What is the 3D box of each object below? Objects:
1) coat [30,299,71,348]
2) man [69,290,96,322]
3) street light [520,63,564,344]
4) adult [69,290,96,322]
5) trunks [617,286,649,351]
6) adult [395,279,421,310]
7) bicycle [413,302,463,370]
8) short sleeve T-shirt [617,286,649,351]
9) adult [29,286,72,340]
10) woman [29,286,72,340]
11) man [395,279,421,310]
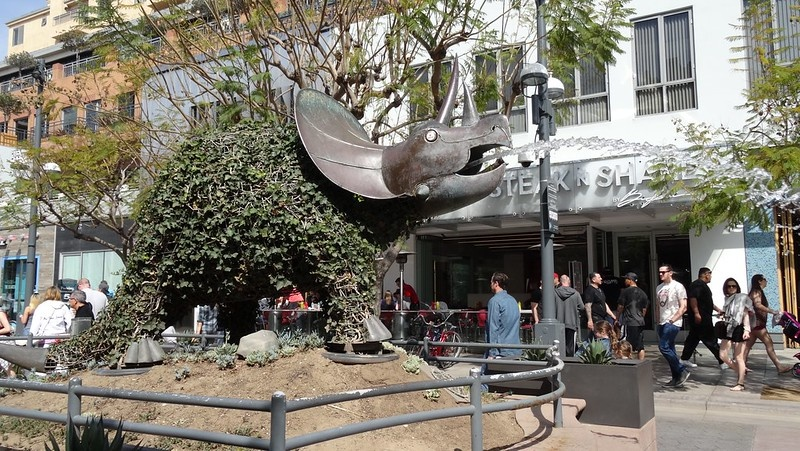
[{"bbox_3d":[-8.404,2.418,14.680,1.148,1.165,0.704,3,-2,-37],"label":"coat"},{"bbox_3d":[-7.992,2.058,15.332,0.692,0.825,0.553,5,4,21],"label":"man"},{"bbox_3d":[3.539,-0.673,15.119,1.196,7.672,1.177,4,-15,-8],"label":"street light"},{"bbox_3d":[-7.992,2.056,15.328,0.678,0.794,0.543,4,9,16],"label":"adult"},{"bbox_3d":[6.397,2.595,16.843,0.693,1.810,0.651,-11,-14,43],"label":"trunks"},{"bbox_3d":[0.217,2.529,22.186,0.563,0.525,1.295,-12,2,3],"label":"adult"},{"bbox_3d":[1.108,3.220,17.995,1.174,1.110,1.895,-7,-15,28],"label":"bicycle"},{"bbox_3d":[6.389,2.596,16.851,0.715,1.810,0.651,-11,-14,43],"label":"short sleeve T-shirt"},{"bbox_3d":[-8.768,2.306,15.290,0.847,1.427,1.000,-5,-6,44],"label":"adult"},{"bbox_3d":[-8.806,2.305,15.240,1.005,1.467,0.918,0,-4,-20],"label":"woman"},{"bbox_3d":[0.217,2.529,22.186,0.563,0.525,1.295,-12,2,3],"label":"man"}]
